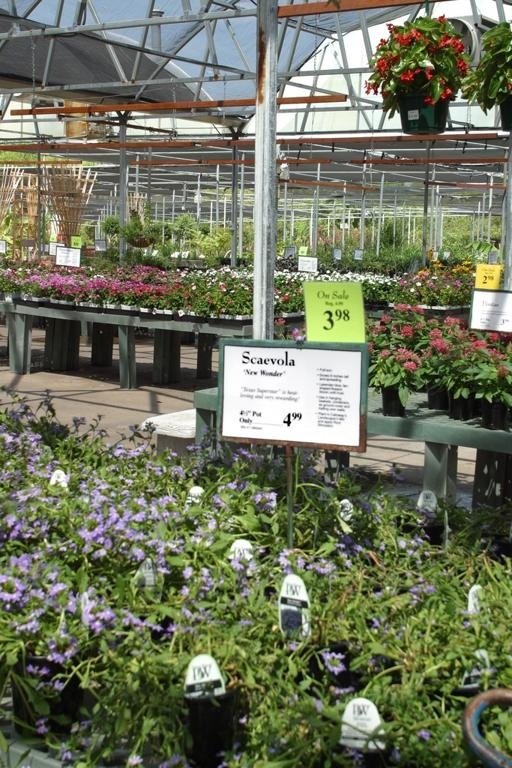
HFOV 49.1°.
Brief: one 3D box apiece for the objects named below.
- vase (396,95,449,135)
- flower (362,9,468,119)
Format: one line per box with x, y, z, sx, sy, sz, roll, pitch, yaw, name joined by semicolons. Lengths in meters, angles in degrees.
0.830;-1.322;2.827;0.186;0.125;0.193;0;1;5;vase
0.812;-1.536;2.748;0.447;0.400;0.460;17;21;30;flower
